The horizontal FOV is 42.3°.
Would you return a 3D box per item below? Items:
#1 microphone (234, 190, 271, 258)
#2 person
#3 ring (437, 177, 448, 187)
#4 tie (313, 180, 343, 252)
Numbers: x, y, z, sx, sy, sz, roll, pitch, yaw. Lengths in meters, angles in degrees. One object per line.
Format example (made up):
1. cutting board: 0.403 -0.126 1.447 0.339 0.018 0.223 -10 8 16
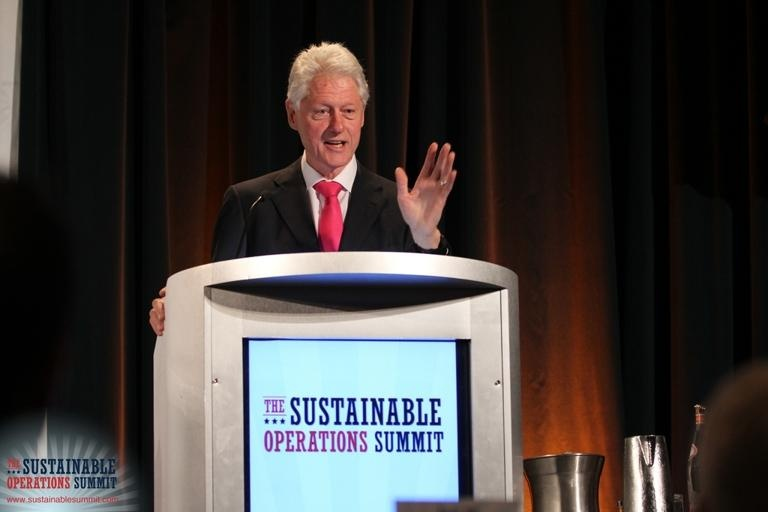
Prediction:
1. microphone: -0.479 -0.128 3.616 0.126 0.216 0.193 3 28 4
2. person: -0.356 -0.259 3.840 0.806 1.391 0.650 5 -24 -13
3. ring: 0.193 -0.243 3.282 0.028 0.022 0.006 -5 -12 11
4. tie: -0.198 -0.149 3.619 0.106 0.277 0.140 -1 -12 -5
